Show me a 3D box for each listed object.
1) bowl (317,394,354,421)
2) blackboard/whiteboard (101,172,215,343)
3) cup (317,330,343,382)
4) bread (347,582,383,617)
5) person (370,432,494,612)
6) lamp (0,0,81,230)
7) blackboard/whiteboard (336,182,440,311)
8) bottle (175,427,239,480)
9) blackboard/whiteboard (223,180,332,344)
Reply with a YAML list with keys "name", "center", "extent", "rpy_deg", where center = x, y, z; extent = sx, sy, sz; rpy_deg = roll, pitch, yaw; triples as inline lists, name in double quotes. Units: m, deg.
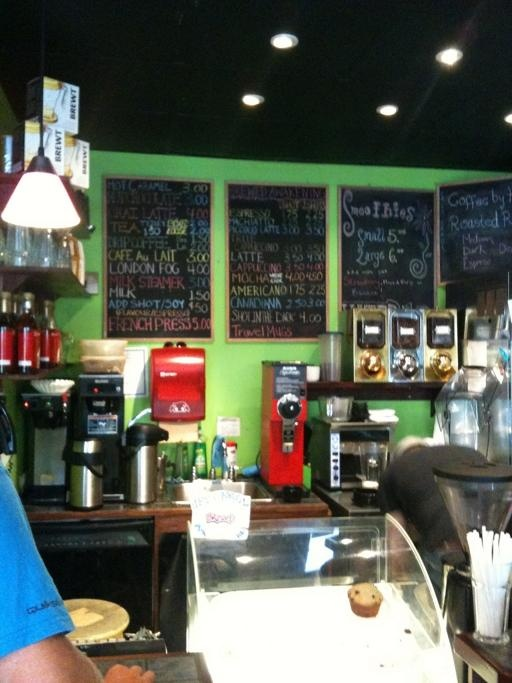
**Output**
- name: "bowl"
  center: [0.419, 0.351, 3.472]
  extent: [0.108, 0.092, 0.128]
  rpy_deg: [3, -11, -16]
- name: "blackboard/whiteboard"
  center: [-0.549, -0.435, 3.569]
  extent: [0.729, 1.295, 0.041]
  rpy_deg: [-1, -1, -14]
- name: "cup"
  center: [0.401, 0.079, 3.559]
  extent: [0.181, 0.346, 0.199]
  rpy_deg: [0, -4, 1]
- name: "bread"
  center: [0.251, 0.589, 1.516]
  extent: [0.050, 0.050, 0.063]
  rpy_deg: [0, -14, 8]
- name: "person"
  center: [0.614, 0.530, 2.085]
  extent: [0.315, 0.297, 0.708]
  rpy_deg: [-2, 3, -3]
- name: "lamp"
  center: [-0.719, -0.737, 2.163]
  extent: [0.258, 0.758, 0.518]
  rpy_deg: [-2, 2, -16]
- name: "blackboard/whiteboard"
  center: [0.728, -0.540, 3.802]
  extent: [0.604, 0.886, 0.053]
  rpy_deg: [0, -1, -12]
- name: "bottle"
  center: [-0.264, 0.595, 3.482]
  extent: [0.231, 0.262, 0.086]
  rpy_deg: [2, -10, -28]
- name: "blackboard/whiteboard"
  center: [0.093, -0.431, 3.693]
  extent: [0.727, 1.332, 0.042]
  rpy_deg: [0, -2, -14]
